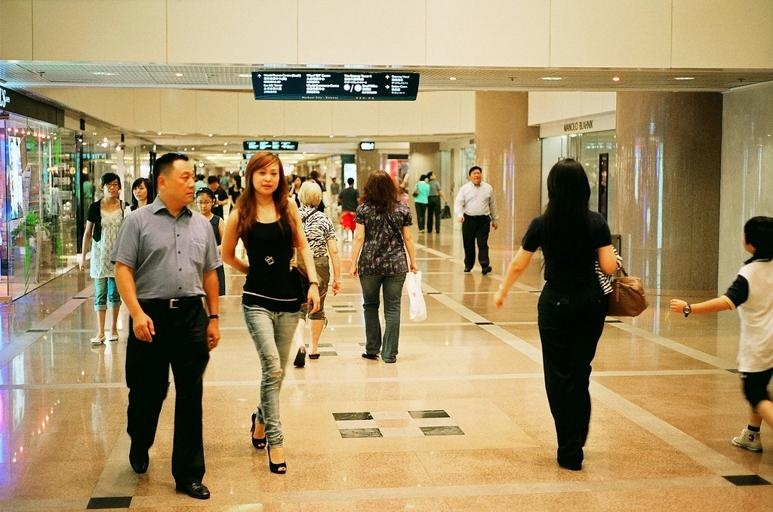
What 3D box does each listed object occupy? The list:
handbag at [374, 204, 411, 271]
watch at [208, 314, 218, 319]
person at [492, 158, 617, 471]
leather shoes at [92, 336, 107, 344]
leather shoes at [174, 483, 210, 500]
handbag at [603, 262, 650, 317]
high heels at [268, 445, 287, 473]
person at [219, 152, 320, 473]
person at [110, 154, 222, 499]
[{"bbox_3d":[0.094,-0.197,7.114,0.499,0.660,0.261,-1,7,5],"label":"handbag"},{"bbox_3d":[-1.323,0.472,4.516,0.065,0.026,0.049,1,3,-1],"label":"watch"},{"bbox_3d":[1.429,0.446,4.722,0.805,2.427,0.449,2,7,22],"label":"person"},{"bbox_3d":[-3.994,1.169,8.186,0.183,0.090,0.270,-4,8,-27],"label":"leather shoes"},{"bbox_3d":[-1.383,1.689,4.211,0.245,0.079,0.098,0,2,26],"label":"leather shoes"},{"bbox_3d":[1.941,0.299,4.734,0.269,0.428,0.312,3,7,23],"label":"handbag"},{"bbox_3d":[-0.831,1.582,4.530,0.088,0.123,0.280,1,-3,-16],"label":"high heels"},{"bbox_3d":[-0.881,0.421,4.630,0.747,2.460,0.533,-2,6,-16],"label":"person"},{"bbox_3d":[-1.579,0.481,4.313,0.731,2.458,0.663,-2,6,-17],"label":"person"}]
